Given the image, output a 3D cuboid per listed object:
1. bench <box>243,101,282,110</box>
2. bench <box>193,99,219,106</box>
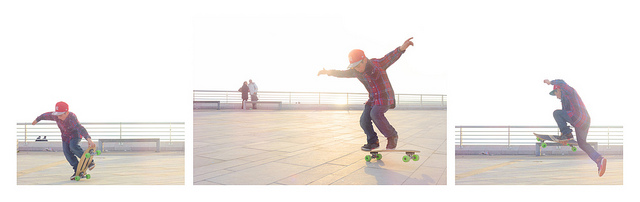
[{"bbox_3d":[-2.691,0.313,18.876,1.848,0.228,0.565,0,7,2],"label":"bench"},{"bbox_3d":[-5.461,0.058,17.823,1.120,0.257,0.197,1,-9,5],"label":"bench"}]
